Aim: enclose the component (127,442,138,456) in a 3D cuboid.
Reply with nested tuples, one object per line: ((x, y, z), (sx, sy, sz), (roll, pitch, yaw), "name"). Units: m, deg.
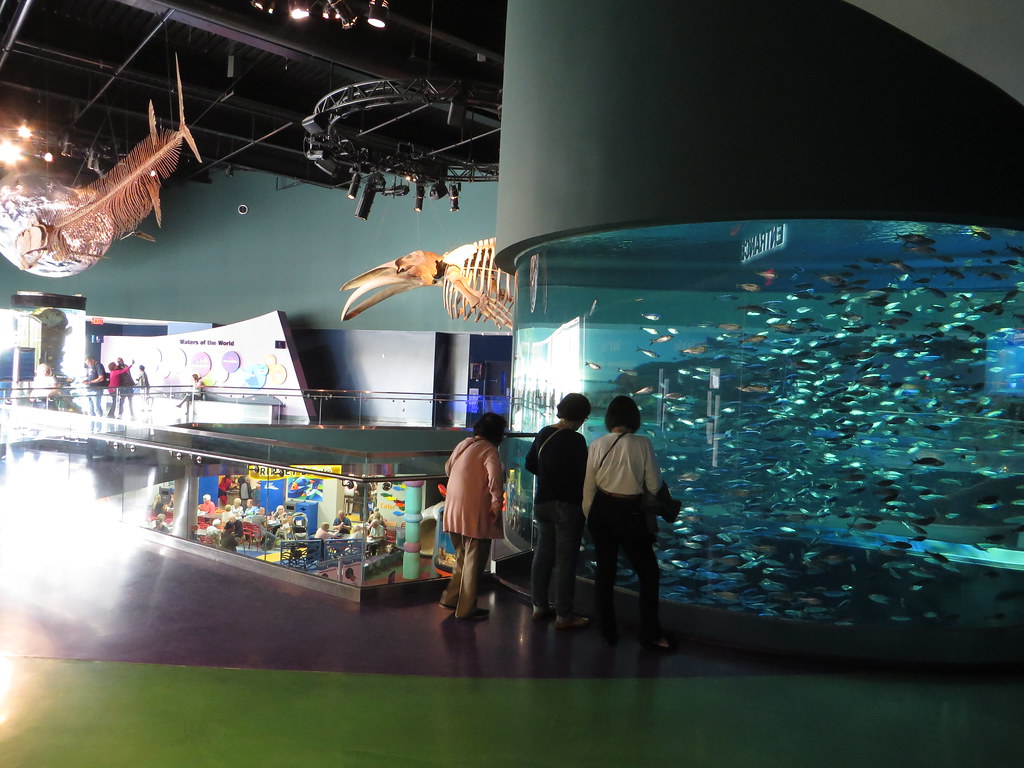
((-4.071, 0.693, 7.782), (0.142, 0.101, 0.031), (20, 19, 31), "component")

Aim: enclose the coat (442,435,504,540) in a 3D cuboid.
((-0.292, 0.835, 5.787), (0.489, 0.818, 0.328), (3, 9, 11), "coat")

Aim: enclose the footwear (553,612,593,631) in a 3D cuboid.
((0.469, 1.846, 5.612), (0.240, 0.091, 0.109), (-2, -2, -9), "footwear")

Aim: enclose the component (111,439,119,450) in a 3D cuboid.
((-4.397, 0.665, 8.031), (0.143, 0.130, 0.044), (-2, 0, 44), "component")

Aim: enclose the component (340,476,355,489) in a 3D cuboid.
((-1.417, 0.859, 6.277), (0.106, 0.093, 0.038), (1, 5, 33), "component")

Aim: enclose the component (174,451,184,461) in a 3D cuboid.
((-3.390, 0.734, 7.354), (0.104, 0.087, 0.025), (0, 6, 33), "component")
